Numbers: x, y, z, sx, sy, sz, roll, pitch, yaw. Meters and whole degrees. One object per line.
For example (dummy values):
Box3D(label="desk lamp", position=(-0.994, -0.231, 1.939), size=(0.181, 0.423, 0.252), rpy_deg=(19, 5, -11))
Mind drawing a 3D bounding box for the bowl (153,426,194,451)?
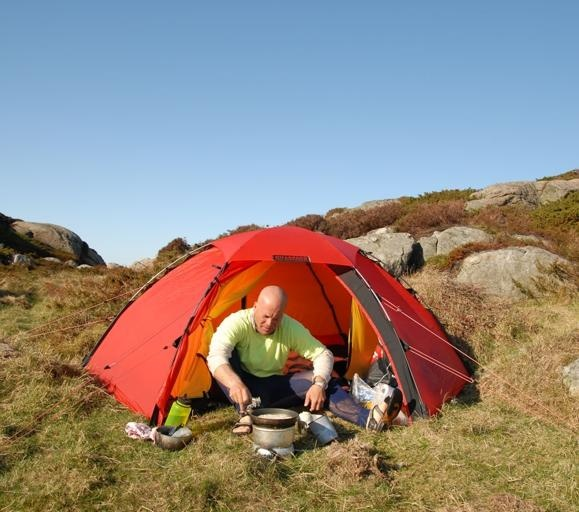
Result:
Box3D(label="bowl", position=(-1.246, 1.947, 4.788), size=(0.392, 0.187, 0.254), rpy_deg=(-1, 9, -19))

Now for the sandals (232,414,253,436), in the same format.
Box3D(label="sandals", position=(-0.524, 1.903, 4.953), size=(0.203, 0.103, 0.460), rpy_deg=(0, -4, -3))

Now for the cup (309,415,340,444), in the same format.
Box3D(label="cup", position=(0.367, 1.909, 4.903), size=(0.266, 0.270, 0.213), rpy_deg=(-34, 54, -16))

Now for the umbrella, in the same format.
Box3D(label="umbrella", position=(-0.238, 0.782, 7.053), size=(4.064, 1.356, 3.417), rpy_deg=(-1, -4, -5))

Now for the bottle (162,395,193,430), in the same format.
Box3D(label="bottle", position=(-1.268, 1.809, 5.099), size=(0.280, 0.302, 0.233), rpy_deg=(0, 9, -13))

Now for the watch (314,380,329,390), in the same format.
Box3D(label="watch", position=(0.358, 1.460, 5.032), size=(0.122, 0.046, 0.092), rpy_deg=(-1, -14, 37))
